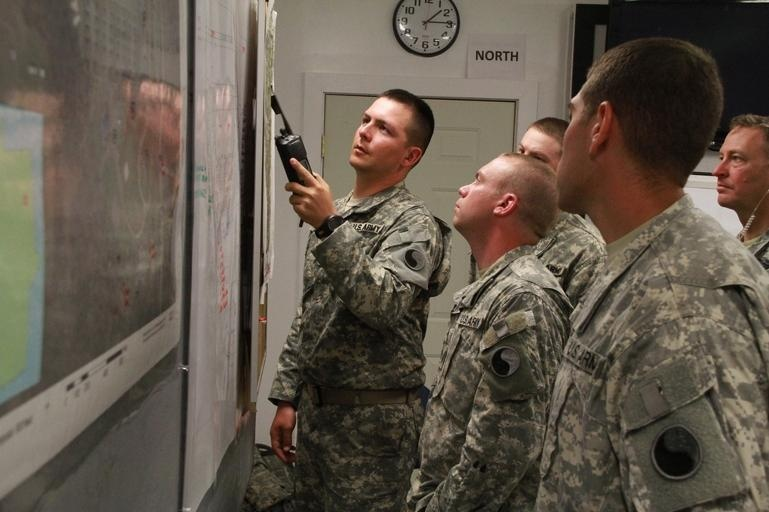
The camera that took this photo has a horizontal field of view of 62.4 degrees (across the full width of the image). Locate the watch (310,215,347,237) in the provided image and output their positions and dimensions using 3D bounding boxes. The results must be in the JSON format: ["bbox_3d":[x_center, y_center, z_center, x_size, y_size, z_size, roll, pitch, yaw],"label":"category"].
[{"bbox_3d":[-0.126,-0.074,1.499,0.065,0.066,0.041,-23,69,-46],"label":"watch"}]
